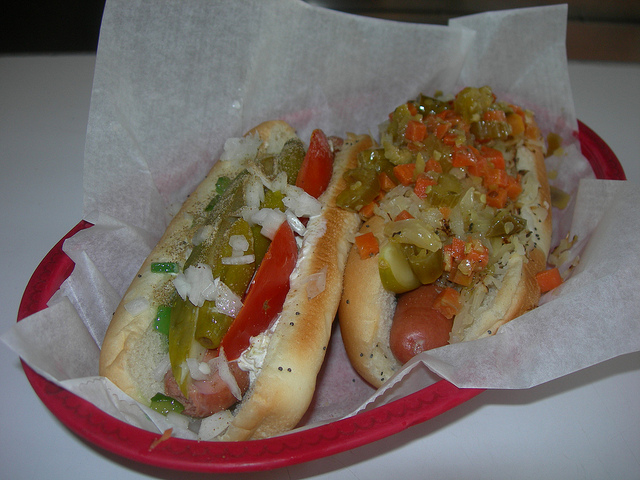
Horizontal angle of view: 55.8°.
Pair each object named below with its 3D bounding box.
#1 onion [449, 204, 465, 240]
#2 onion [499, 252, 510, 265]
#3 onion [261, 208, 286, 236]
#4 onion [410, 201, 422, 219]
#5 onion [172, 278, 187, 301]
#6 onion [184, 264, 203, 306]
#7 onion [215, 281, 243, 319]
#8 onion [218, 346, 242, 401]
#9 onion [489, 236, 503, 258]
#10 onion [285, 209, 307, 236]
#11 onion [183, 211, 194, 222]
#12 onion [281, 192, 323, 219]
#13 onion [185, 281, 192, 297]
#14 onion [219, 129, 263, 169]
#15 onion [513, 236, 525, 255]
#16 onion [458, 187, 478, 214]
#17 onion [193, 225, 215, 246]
[{"bbox_3d":[0.748,-0.089,3.294,0.079,0.037,0.151,1,75,-19],"label":"onion"},{"bbox_3d":[1.028,0.102,3.340,0.036,0.015,0.075,25,86,23],"label":"onion"},{"bbox_3d":[-0.248,-0.095,3.261,0.108,0.098,0.115,32,83,3],"label":"onion"},{"bbox_3d":[0.531,-0.163,3.328,0.049,0.019,0.085,-2,74,9],"label":"onion"},{"bbox_3d":[-0.722,0.255,3.112,0.024,0.061,0.105,-6,83,-56],"label":"onion"},{"bbox_3d":[-0.650,0.227,3.075,0.098,0.040,0.175,-9,77,12],"label":"onion"},{"bbox_3d":[-0.478,0.314,3.086,0.175,0.042,0.128,37,65,-10],"label":"onion"},{"bbox_3d":[-0.475,0.666,3.073,0.065,0.080,0.281,1,57,-56],"label":"onion"},{"bbox_3d":[0.973,0.038,3.329,0.061,0.025,0.112,15,85,-7],"label":"onion"},{"bbox_3d":[-0.133,-0.089,3.371,0.047,0.150,0.085,-37,29,-4],"label":"onion"},{"bbox_3d":[-0.775,-0.139,3.545,0.036,0.014,0.058,-5,46,-12],"label":"onion"},{"bbox_3d":[-0.083,-0.200,3.325,0.167,0.045,0.138,6,77,-24],"label":"onion"},{"bbox_3d":[-0.678,0.251,3.098,0.032,0.013,0.060,-7,80,18],"label":"onion"},{"bbox_3d":[-0.493,-0.561,3.761,0.244,0.083,0.259,-12,78,-10],"label":"onion"},{"bbox_3d":[1.109,0.037,3.353,0.040,0.017,0.125,-16,62,17],"label":"onion"},{"bbox_3d":[0.823,-0.208,3.322,0.082,0.034,0.152,15,85,9],"label":"onion"},{"bbox_3d":[-0.635,-0.019,3.335,0.084,0.041,0.120,35,90,33],"label":"onion"}]
